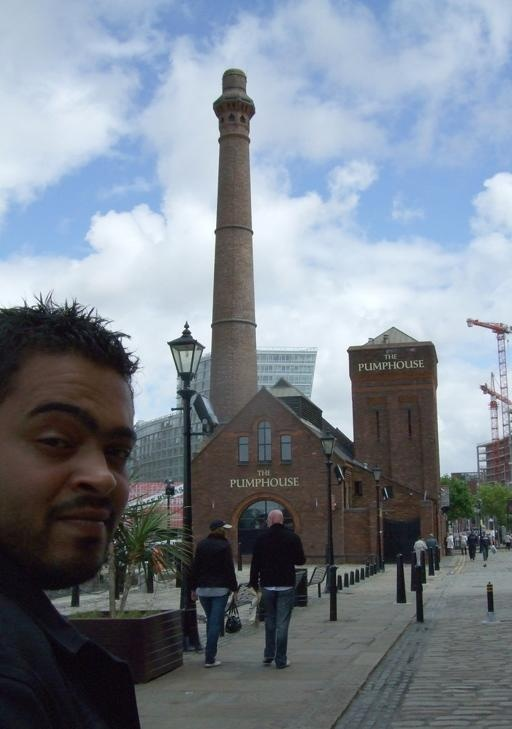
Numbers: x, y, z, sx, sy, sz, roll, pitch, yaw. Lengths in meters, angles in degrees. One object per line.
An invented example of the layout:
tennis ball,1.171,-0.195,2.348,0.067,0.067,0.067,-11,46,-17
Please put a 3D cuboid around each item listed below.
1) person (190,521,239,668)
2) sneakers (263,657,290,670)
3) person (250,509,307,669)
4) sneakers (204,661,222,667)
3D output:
person,-0.474,2.610,9.777,0.521,1.583,0.894,-2,-9,-5
sneakers,0.235,3.253,9.210,0.111,0.120,0.327,-5,-10,37
person,0.253,2.510,9.702,0.644,1.666,1.041,-3,-9,0
sneakers,-0.472,3.294,9.376,0.069,0.070,0.202,0,-6,38
